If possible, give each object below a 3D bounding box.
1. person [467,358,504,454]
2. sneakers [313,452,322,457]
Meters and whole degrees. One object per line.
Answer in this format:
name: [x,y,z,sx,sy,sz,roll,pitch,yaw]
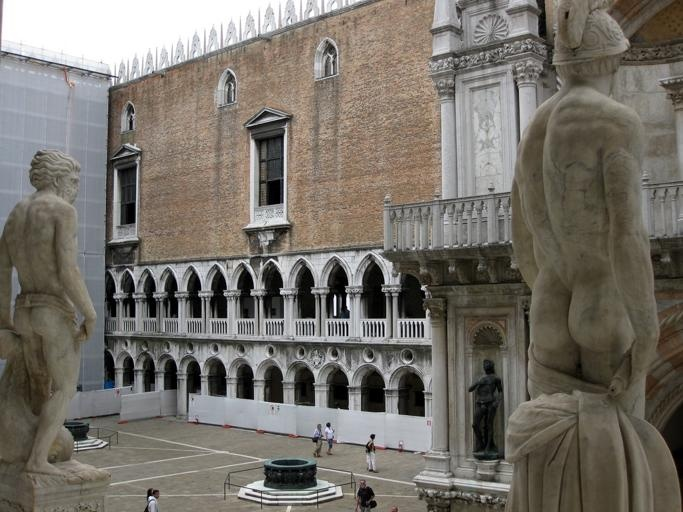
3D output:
person: [2.415,2.538,20.810,0.541,1.581,0.607,-1,3,7]
sneakers: [-0.548,4.743,29.840,0.212,0.099,0.074,2,-3,-18]
